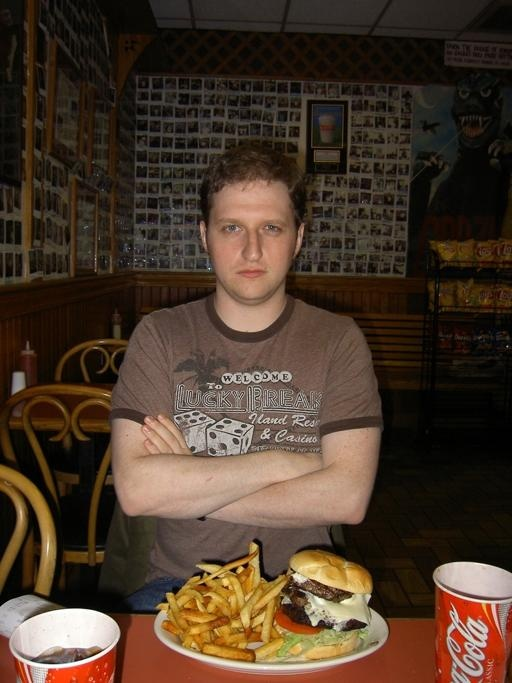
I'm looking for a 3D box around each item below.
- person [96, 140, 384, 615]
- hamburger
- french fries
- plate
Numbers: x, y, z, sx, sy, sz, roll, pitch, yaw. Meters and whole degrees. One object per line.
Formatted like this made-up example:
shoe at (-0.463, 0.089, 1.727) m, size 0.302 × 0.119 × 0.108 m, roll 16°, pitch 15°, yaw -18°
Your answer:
person at (-0.029, 0.073, 1.228) m, size 0.639 × 1.055 × 0.419 m, roll 1°, pitch 8°, yaw -10°
hamburger at (0.086, 0.362, 0.758) m, size 0.165 × 0.114 × 0.130 m, roll 12°, pitch -5°, yaw -10°
french fries at (-0.039, 0.316, 0.722) m, size 0.163 × 0.115 × 0.134 m, roll 2°, pitch 4°, yaw -31°
plate at (0.026, 0.375, 0.669) m, size 0.311 × 0.032 × 0.127 m, roll 1°, pitch 7°, yaw -7°
